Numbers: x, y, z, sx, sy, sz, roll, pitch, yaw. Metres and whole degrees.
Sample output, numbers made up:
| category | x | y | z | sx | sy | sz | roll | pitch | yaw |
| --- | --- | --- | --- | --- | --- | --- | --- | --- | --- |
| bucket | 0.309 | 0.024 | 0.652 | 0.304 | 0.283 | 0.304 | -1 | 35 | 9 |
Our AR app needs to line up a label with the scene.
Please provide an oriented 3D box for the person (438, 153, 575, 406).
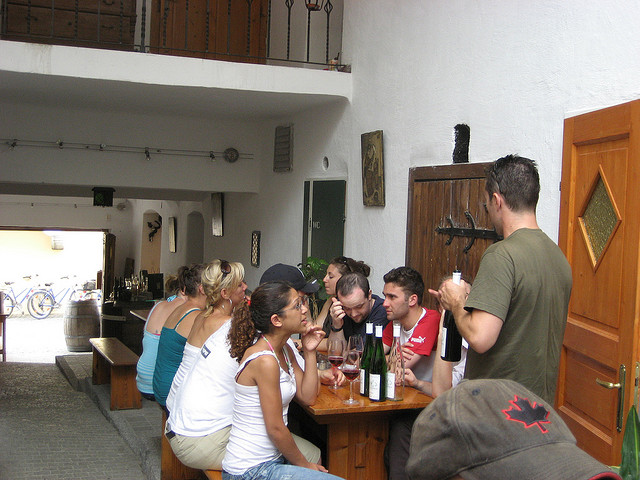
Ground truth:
| category | x | y | z | sx | sy | sz | roll | pitch | yaw |
| --- | --- | --- | --- | --- | --- | --- | --- | --- | --- |
| person | 0.830 | 0.181 | 2.134 | 0.579 | 1.107 | 0.282 | 0 | 3 | -4 |

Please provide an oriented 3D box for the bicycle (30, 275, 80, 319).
| category | x | y | z | sx | sy | sz | roll | pitch | yaw |
| --- | --- | --- | --- | --- | --- | --- | --- | --- | --- |
| bicycle | -8.674 | 1.835 | 15.942 | 1.221 | 0.858 | 0.747 | -26 | 12 | -23 |

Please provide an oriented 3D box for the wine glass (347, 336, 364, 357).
| category | x | y | z | sx | sy | sz | roll | pitch | yaw |
| --- | --- | --- | --- | --- | --- | --- | --- | --- | --- |
| wine glass | 0.198 | 0.578 | 2.718 | 0.091 | 0.142 | 0.093 | -2 | 3 | -25 |

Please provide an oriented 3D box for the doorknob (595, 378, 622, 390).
| category | x | y | z | sx | sy | sz | roll | pitch | yaw |
| --- | --- | --- | --- | --- | --- | --- | --- | --- | --- |
| doorknob | 1.412 | 0.697 | 2.388 | 0.107 | 0.038 | 0.079 | 8 | -11 | -28 |

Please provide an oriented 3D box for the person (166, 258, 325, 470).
| category | x | y | z | sx | sy | sz | roll | pitch | yaw |
| --- | --- | --- | --- | --- | --- | --- | --- | --- | --- |
| person | -0.596 | 0.727 | 3.350 | 0.476 | 1.231 | 0.421 | -13 | 29 | -12 |

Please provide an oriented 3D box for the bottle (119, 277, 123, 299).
| category | x | y | z | sx | sy | sz | roll | pitch | yaw |
| --- | --- | --- | --- | --- | --- | --- | --- | --- | --- |
| bottle | -3.627 | 0.932 | 8.904 | 0.054 | 0.219 | 0.519 | -1 | 3 | -22 |

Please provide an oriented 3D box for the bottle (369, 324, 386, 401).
| category | x | y | z | sx | sy | sz | roll | pitch | yaw |
| --- | --- | --- | --- | --- | --- | --- | --- | --- | --- |
| bottle | 0.312 | 0.694 | 2.649 | 0.085 | 0.333 | 0.066 | 0 | 3 | 6 |

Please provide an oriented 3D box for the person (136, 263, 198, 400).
| category | x | y | z | sx | sy | sz | roll | pitch | yaw |
| --- | --- | --- | --- | --- | --- | --- | --- | --- | --- |
| person | -1.329 | 0.762 | 4.152 | 0.430 | 0.792 | 1.402 | 1 | -2 | -14 |
